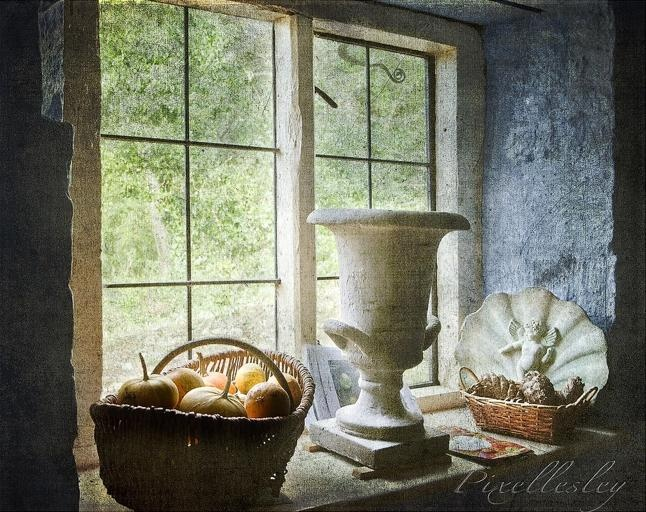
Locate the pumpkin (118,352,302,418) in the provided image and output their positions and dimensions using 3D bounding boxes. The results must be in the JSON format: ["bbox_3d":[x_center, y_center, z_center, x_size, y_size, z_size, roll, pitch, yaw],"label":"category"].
[{"bbox_3d":[-0.399,0.471,3.220,0.394,0.160,0.306,9,-17,8],"label":"pumpkin"}]
